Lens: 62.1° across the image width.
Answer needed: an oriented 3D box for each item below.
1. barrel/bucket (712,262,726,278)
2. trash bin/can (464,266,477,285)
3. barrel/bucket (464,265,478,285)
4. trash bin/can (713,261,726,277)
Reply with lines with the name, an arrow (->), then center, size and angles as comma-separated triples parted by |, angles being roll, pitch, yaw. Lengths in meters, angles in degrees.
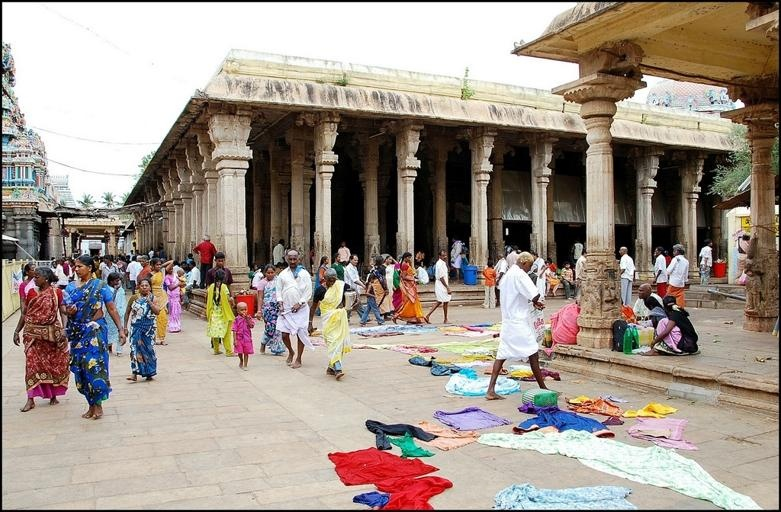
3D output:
barrel/bucket -> 13.101, 0.568, 25.808 | 0.658, 0.620, 0.637 | -1, -4, 0
trash bin/can -> 2.540, 0.611, 20.676 | 0.545, 0.569, 0.543 | 3, -6, -22
barrel/bucket -> 2.480, 0.606, 20.619 | 0.553, 0.577, 0.558 | 1, -5, 0
trash bin/can -> 13.032, 0.559, 25.720 | 0.602, 0.568, 0.582 | 1, -4, -26
